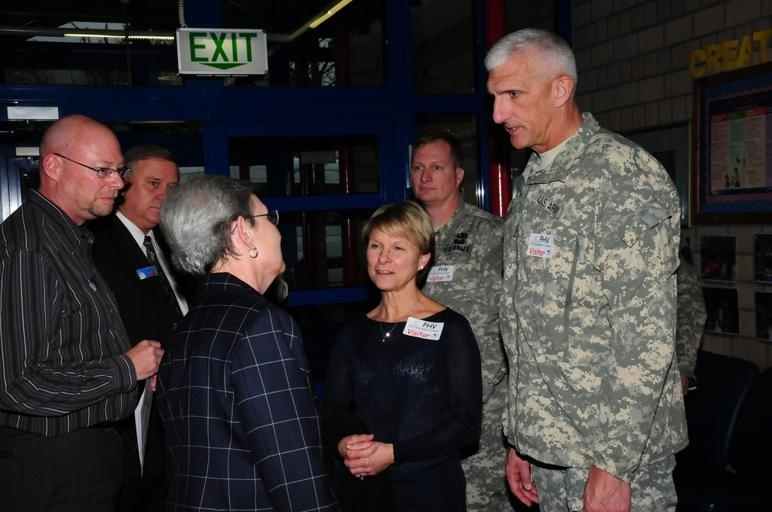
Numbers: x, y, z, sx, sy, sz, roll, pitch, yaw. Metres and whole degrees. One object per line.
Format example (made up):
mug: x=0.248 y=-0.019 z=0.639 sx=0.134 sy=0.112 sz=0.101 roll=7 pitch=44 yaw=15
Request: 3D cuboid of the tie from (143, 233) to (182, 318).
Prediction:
tie: x=-1.266 y=0.137 z=3.815 sx=0.062 sy=0.539 sz=0.060 roll=-28 pitch=-3 yaw=-9

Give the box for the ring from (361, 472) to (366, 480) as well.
ring: x=-0.104 y=1.028 z=3.126 sx=0.028 sy=0.032 sz=0.075 roll=-2 pitch=-14 yaw=-1

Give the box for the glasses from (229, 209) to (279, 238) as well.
glasses: x=-0.567 y=-0.152 z=2.950 sx=0.150 sy=0.047 sz=0.140 roll=-6 pitch=-1 yaw=10

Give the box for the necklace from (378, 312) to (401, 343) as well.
necklace: x=0.010 y=0.361 z=3.266 sx=0.123 sy=0.105 sz=0.030 roll=-12 pitch=-18 yaw=21
